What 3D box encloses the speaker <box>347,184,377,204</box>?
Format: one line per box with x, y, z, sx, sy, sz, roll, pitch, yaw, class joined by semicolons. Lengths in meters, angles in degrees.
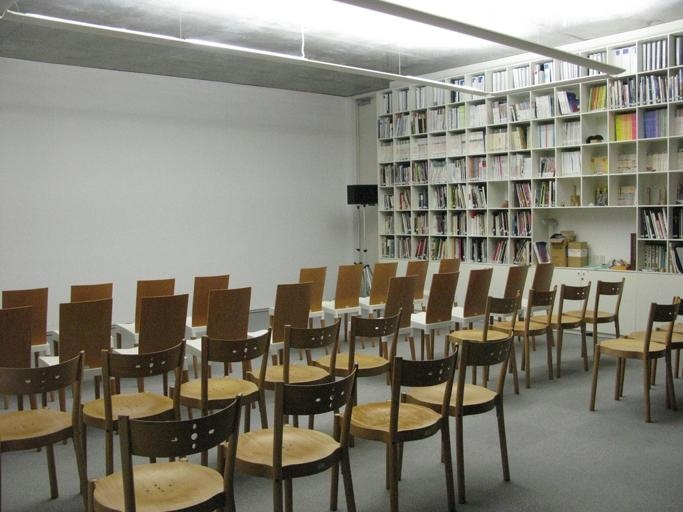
0.376;-1.144;10.314;0.555;0.343;0.336;-1;7;2;speaker
